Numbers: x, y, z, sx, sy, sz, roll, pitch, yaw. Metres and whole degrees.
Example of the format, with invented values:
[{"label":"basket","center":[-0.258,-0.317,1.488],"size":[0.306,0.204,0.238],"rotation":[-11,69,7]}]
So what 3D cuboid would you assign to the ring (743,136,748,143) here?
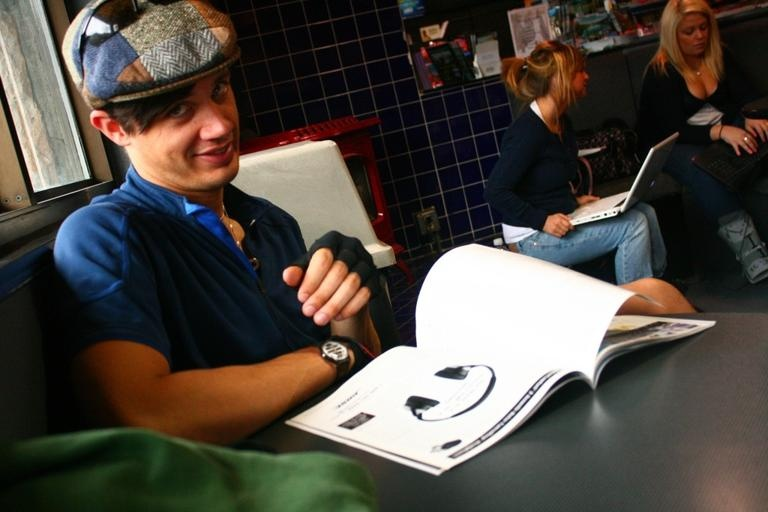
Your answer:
[{"label":"ring","center":[1.653,-0.513,2.549],"size":[0.007,0.021,0.021],"rotation":[3,-12,-25]}]

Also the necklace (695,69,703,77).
[{"label":"necklace","center":[1.686,-0.942,2.981],"size":[0.026,0.025,0.024],"rotation":[6,-19,-40]}]

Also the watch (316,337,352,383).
[{"label":"watch","center":[-0.080,0.192,1.056],"size":[0.070,0.047,0.067],"rotation":[-52,23,34]}]

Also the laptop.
[{"label":"laptop","center":[0.995,-0.288,2.354],"size":[0.496,0.226,0.488],"rotation":[-11,6,-15]}]

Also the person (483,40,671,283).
[{"label":"person","center":[0.908,-0.350,2.580],"size":[0.733,1.178,0.653],"rotation":[-1,17,26]}]
